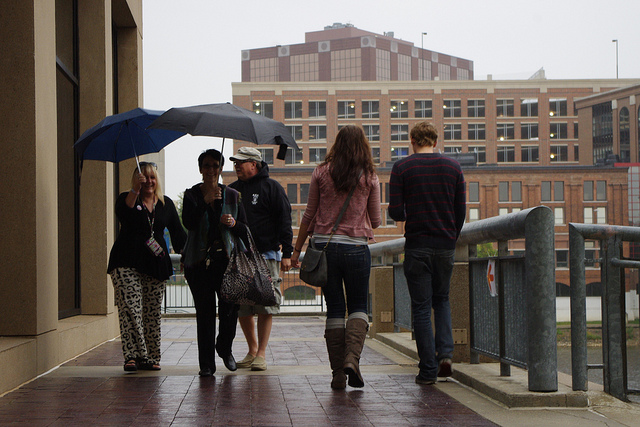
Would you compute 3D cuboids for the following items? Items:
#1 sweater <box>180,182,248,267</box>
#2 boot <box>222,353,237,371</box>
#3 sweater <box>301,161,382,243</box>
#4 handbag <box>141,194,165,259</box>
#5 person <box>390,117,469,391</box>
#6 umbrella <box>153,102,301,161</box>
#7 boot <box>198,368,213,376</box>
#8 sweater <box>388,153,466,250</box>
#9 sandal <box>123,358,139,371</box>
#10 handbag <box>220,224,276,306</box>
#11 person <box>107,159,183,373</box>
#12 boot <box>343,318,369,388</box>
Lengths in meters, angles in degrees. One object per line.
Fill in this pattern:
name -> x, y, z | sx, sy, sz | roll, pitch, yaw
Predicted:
sweater -> -1.384, 0.112, 11.073 | 0.808, 1.813, 1.043 | 0, -1, -4
boot -> -1.181, 1.975, 11.158 | 0.101, 0.286, 0.114 | -23, -27, -21
sweater -> 0.278, -0.162, 10.698 | 1.028, 1.088, 0.578 | 4, -7, 2
handbag -> -2.223, 0.215, 11.294 | 0.301, 0.745, 0.217 | 0, 1, 2
person -> 1.334, 0.685, 10.570 | 0.914, 2.873, 0.419 | 0, 1, 8
umbrella -> -1.342, -1.159, 11.392 | 1.995, 0.725, 1.994 | 8, 3, 3
boot -> -1.456, 2.026, 10.861 | 0.166, 0.099, 0.049 | 0, 1, -9
sweater -> 1.328, -0.145, 10.614 | 0.896, 1.181, 0.212 | 0, 1, 5
sandal -> -2.445, 1.985, 11.176 | 0.151, 0.181, 0.250 | 1, 2, 42
handbag -> -0.909, 0.668, 10.712 | 0.698, 1.034, 0.254 | 0, 1, -8
person -> -2.331, 0.709, 11.316 | 0.931, 2.750, 0.471 | 0, 1, -11
boot -> 0.417, 1.696, 10.331 | 0.355, 0.761, 0.424 | 0, -1, 3
